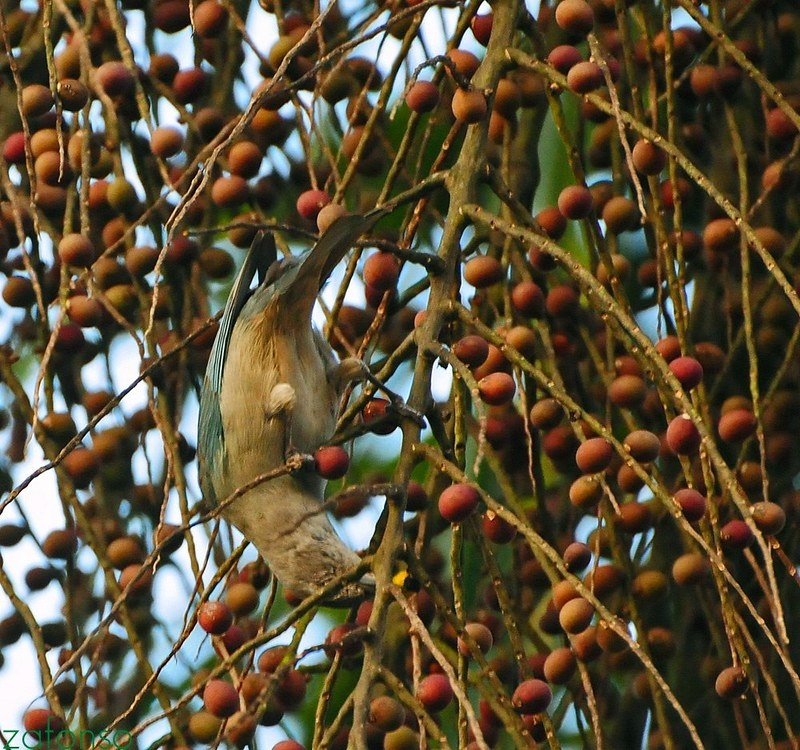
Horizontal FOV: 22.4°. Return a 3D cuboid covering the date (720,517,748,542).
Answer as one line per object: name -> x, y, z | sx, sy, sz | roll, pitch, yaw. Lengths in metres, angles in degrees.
date -> 0.583, 0.272, 3.529 | 0.039, 0.038, 0.032 | -4, 33, -34

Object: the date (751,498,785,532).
date -> 0.631, 0.244, 3.453 | 0.050, 0.083, 0.060 | -4, 13, 4

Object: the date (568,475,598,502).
date -> 0.322, 0.202, 3.522 | 0.048, 0.042, 0.036 | -36, -20, 20

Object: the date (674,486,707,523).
date -> 0.497, 0.218, 3.475 | 0.046, 0.076, 0.055 | -8, 6, 8

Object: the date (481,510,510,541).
date -> 0.174, 0.270, 3.576 | 0.043, 0.070, 0.050 | -9, 9, 8

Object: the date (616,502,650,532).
date -> 0.444, 0.269, 3.798 | 0.056, 0.057, 0.069 | 2, 14, 13

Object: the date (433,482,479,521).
date -> 0.094, 0.209, 3.358 | 0.066, 0.059, 0.051 | -35, 5, -11

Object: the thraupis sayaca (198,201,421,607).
thraupis sayaca -> -0.157, -0.117, 3.708 | 0.269, 0.996, 0.339 | 2, -16, -45

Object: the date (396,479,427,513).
date -> 0.024, 0.226, 3.719 | 0.040, 0.065, 0.051 | 0, 20, 11

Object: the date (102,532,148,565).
date -> -0.532, 0.331, 3.899 | 0.046, 0.077, 0.055 | 0, 3, 5
